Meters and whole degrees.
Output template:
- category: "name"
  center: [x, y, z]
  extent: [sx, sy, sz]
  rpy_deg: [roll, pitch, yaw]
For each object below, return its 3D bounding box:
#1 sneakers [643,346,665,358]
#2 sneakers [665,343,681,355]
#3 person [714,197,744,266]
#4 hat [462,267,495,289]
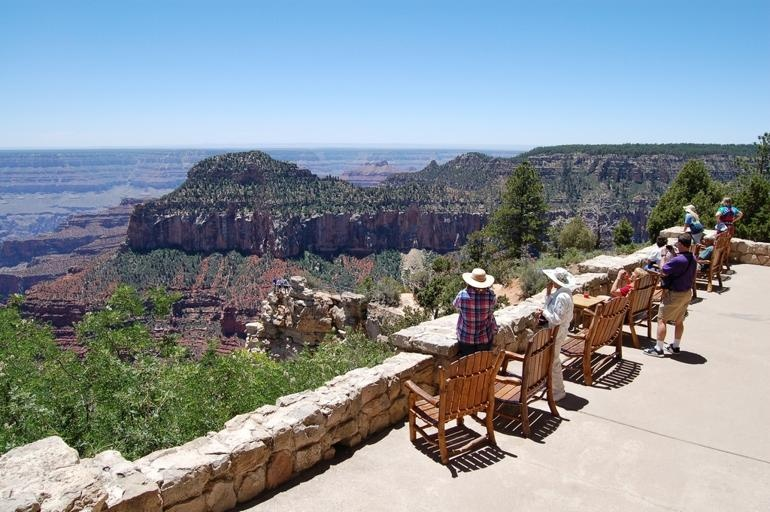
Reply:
- category: "sneakers"
  center: [4.774, 1.702, 9.570]
  extent: [0.319, 0.145, 0.151]
  rpy_deg: [7, 5, 30]
- category: "sneakers"
  center: [5.128, 1.652, 9.575]
  extent: [0.139, 0.107, 0.247]
  rpy_deg: [0, 8, 0]
- category: "person"
  center: [8.507, -0.687, 13.555]
  extent: [0.631, 1.508, 0.515]
  rpy_deg: [3, 10, 4]
- category: "hat"
  center: [1.426, 0.290, 8.275]
  extent: [0.419, 0.376, 0.738]
  rpy_deg: [2, 13, 8]
